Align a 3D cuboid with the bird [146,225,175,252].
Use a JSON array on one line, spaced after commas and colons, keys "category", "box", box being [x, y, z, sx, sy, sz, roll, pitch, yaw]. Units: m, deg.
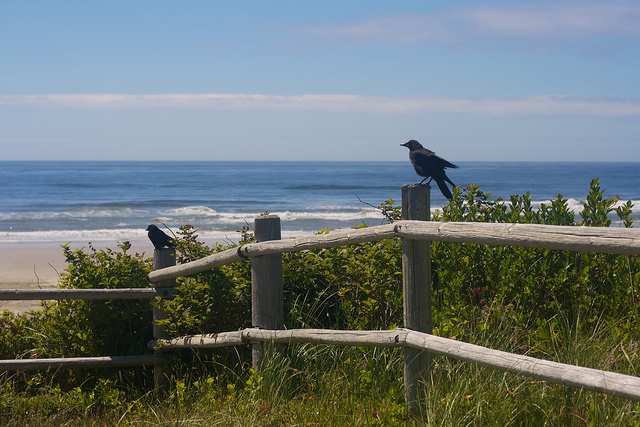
[{"category": "bird", "box": [-2.652, 0.411, 17.240, 0.559, 0.443, 0.265, 1, 5, -7]}]
